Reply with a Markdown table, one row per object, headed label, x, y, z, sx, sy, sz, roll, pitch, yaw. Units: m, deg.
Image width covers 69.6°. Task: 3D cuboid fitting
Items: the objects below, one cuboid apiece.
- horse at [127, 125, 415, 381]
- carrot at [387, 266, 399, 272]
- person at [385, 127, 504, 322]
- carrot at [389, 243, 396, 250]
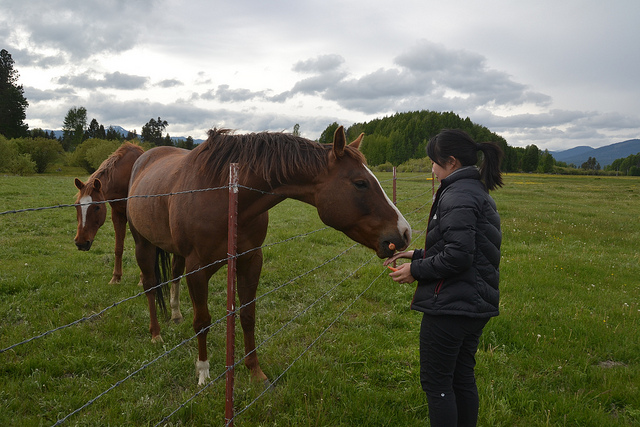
| label | x | y | z | sx | sy | sz | roll | pitch | yaw |
| --- | --- | --- | --- | --- | --- | --- | --- | --- | --- |
| horse | -1.888 | 0.758 | 8.882 | 6.582 | 4.857 | 2.460 | 11 | 13 | 38 |
| carrot | 1.104 | 0.847 | 7.066 | 0.038 | 0.055 | 0.179 | 2 | 11 | -22 |
| person | 2.023 | 0.184 | 6.888 | 1.415 | 2.858 | 0.818 | 5 | 9 | 9 |
| carrot | 1.143 | 0.518 | 7.284 | 0.080 | 0.092 | 0.035 | -15 | -14 | 23 |
